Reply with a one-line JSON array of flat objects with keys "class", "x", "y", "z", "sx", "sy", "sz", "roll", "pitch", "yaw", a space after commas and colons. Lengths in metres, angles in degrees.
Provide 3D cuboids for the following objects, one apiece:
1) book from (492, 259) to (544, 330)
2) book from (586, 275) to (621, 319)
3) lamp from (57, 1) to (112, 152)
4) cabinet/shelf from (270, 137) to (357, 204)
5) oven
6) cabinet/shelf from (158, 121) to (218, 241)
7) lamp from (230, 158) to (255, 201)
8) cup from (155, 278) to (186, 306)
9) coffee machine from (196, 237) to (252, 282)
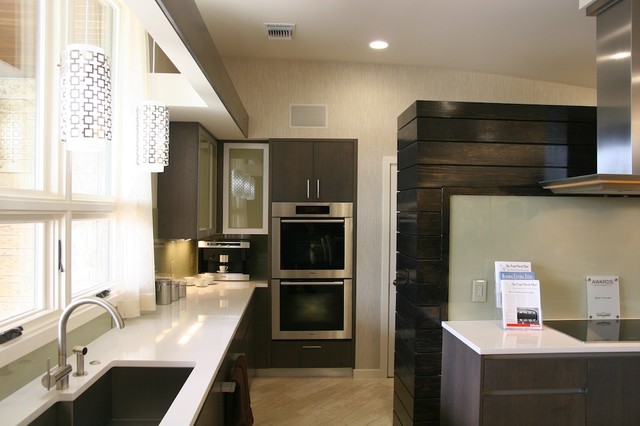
[{"class": "book", "x": 1.468, "y": 0.612, "z": 3.704, "sx": 0.298, "sy": 0.475, "sz": 0.174, "roll": -2, "pitch": 9, "yaw": -1}, {"class": "book", "x": 2.161, "y": 0.652, "z": 3.832, "sx": 0.319, "sy": 0.422, "sz": 0.034, "roll": 0, "pitch": -4, "yaw": 1}, {"class": "lamp", "x": -1.400, "y": -0.697, "z": 2.990, "sx": 0.306, "sy": 0.635, "sz": 0.163, "roll": -6, "pitch": 10, "yaw": -23}, {"class": "cabinet/shelf", "x": -0.051, "y": -0.464, "z": 5.404, "sx": 0.927, "sy": 0.691, "sz": 0.361, "roll": 3, "pitch": 16, "yaw": 6}, {"class": "oven", "x": -0.024, "y": 0.664, "z": 5.576, "sx": 0.961, "sy": 1.556, "sz": 0.801, "roll": -2, "pitch": -7, "yaw": 15}, {"class": "cabinet/shelf", "x": -1.254, "y": -0.313, "z": 4.678, "sx": 0.366, "sy": 1.081, "sz": 1.128, "roll": 1, "pitch": 0, "yaw": 2}, {"class": "lamp", "x": -0.841, "y": -0.358, "z": 5.326, "sx": 0.243, "sy": 0.426, "sz": 0.177, "roll": 0, "pitch": 3, "yaw": 0}, {"class": "cup", "x": -1.355, "y": 0.691, "z": 4.543, "sx": 0.167, "sy": 0.233, "sz": 0.364, "roll": 0, "pitch": 9, "yaw": 13}, {"class": "coffee machine", "x": -1.053, "y": 0.512, "z": 5.527, "sx": 0.694, "sy": 0.531, "sz": 0.408, "roll": 0, "pitch": -2, "yaw": -1}]
